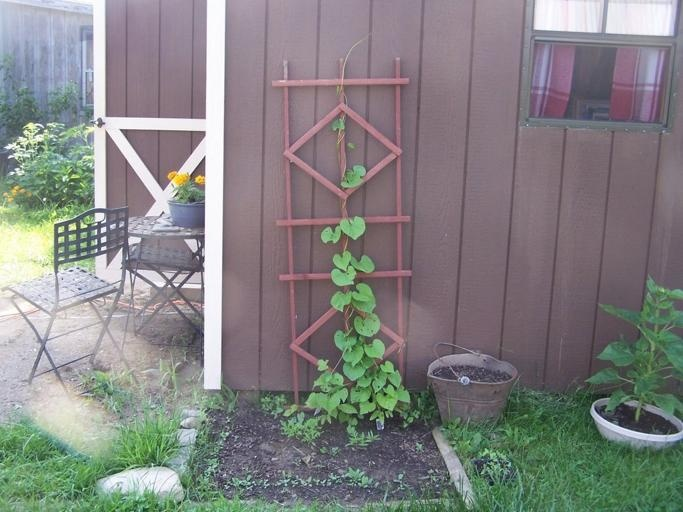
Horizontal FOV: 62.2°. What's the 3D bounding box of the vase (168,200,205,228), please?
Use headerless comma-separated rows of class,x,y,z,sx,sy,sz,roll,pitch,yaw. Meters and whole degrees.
vase,-1.051,-0.282,3.875,0.199,0.104,0.206,0,5,-10

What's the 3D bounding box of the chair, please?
chair,-1.992,0.408,4.204,0.903,1.630,0.780,30,28,28

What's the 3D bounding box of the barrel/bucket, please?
barrel/bucket,0.747,0.742,3.346,0.436,0.317,0.429,-3,10,1
